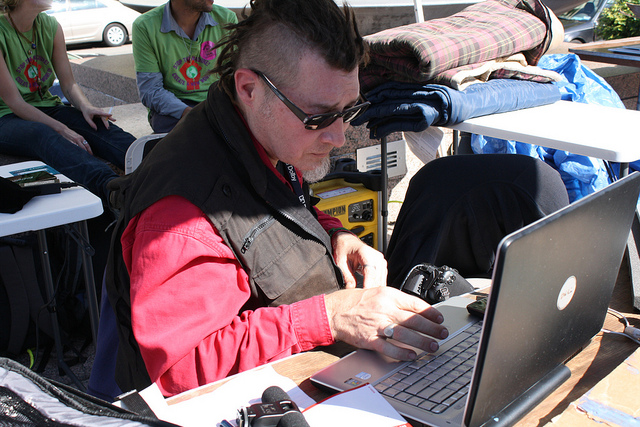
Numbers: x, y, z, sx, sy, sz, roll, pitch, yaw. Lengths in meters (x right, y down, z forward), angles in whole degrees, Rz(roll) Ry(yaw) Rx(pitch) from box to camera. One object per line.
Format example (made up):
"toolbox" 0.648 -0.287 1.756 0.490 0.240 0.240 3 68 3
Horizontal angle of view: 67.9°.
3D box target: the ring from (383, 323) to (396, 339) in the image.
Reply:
"ring" 0.210 0.354 1.461 0.027 0.040 0.010 18 -13 -2

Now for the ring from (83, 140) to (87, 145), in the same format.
"ring" -1.852 -0.560 3.751 0.036 0.037 0.009 4 -12 -38

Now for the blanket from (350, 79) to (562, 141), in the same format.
"blanket" 0.709 -0.674 2.718 1.061 0.247 1.140 -9 17 -10
